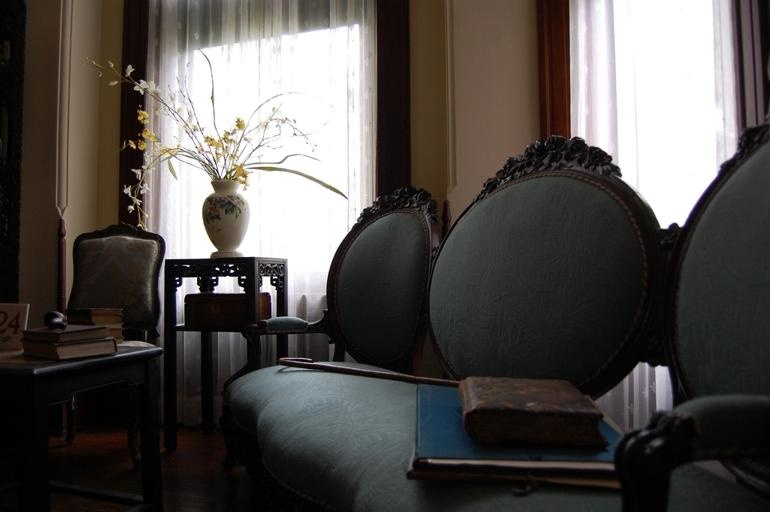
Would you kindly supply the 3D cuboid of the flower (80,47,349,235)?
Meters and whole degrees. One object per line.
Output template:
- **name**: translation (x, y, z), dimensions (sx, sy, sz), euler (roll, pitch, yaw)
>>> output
- **flower**: translation (-0.862, -0.633, 3.205), dimensions (1.067, 0.656, 1.087), euler (3, 1, -30)

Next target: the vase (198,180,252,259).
- **vase**: translation (-0.758, -0.168, 2.906), dimensions (0.222, 0.373, 0.208), euler (-5, -5, 23)

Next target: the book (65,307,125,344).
- **book**: translation (-1.095, 0.274, 2.361), dimensions (0.217, 0.144, 0.151), euler (2, 0, 31)

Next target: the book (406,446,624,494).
- **book**: translation (0.299, 0.509, 1.419), dimensions (0.491, 0.061, 0.025), euler (1, 4, 2)
